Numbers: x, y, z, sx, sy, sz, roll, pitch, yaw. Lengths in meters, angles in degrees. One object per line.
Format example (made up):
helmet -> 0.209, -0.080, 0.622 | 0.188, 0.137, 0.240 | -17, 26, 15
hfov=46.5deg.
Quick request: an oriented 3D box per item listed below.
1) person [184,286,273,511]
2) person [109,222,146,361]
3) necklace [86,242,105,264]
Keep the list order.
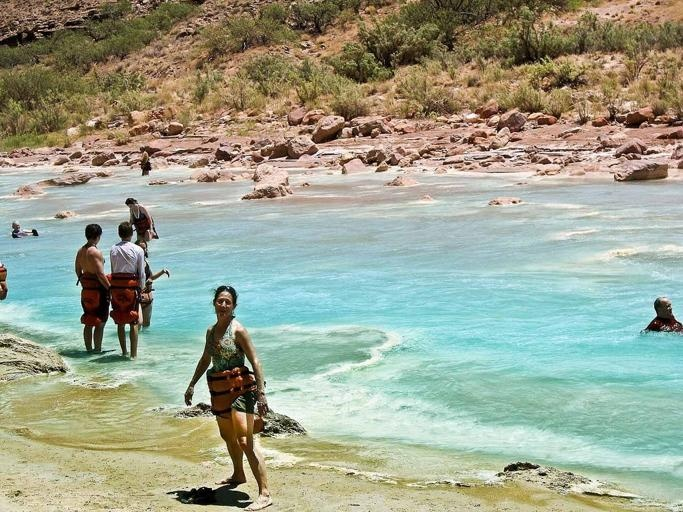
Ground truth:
person -> -0.844, 1.164, 6.767 | 0.404, 1.751, 0.983 | -5, 16, -27
person -> -2.814, 0.457, 10.458 | 0.458, 1.812, 0.637 | -1, 15, -13
necklace -> -3.156, -0.053, 10.133 | 0.207, 0.344, 0.238 | -2, 14, -16
